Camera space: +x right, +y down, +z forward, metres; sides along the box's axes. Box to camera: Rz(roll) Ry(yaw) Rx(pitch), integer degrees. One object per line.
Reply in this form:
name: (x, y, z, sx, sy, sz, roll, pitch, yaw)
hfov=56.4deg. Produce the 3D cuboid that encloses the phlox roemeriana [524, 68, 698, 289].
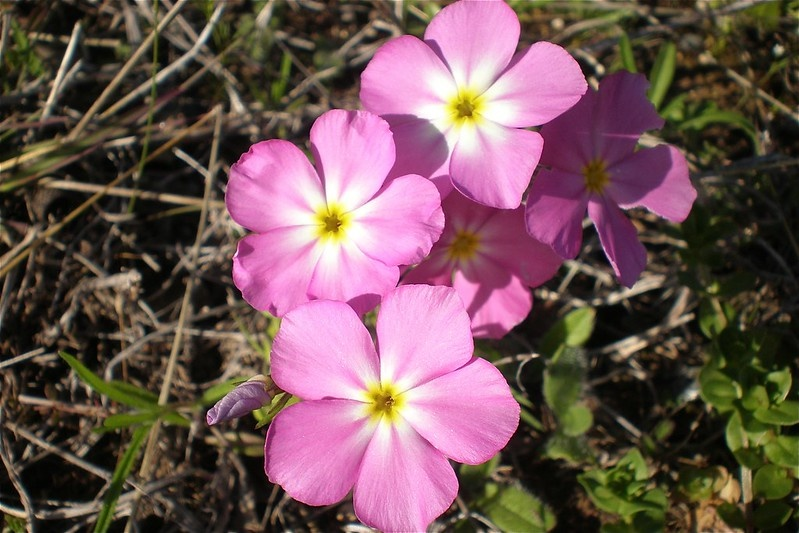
phlox roemeriana: (0.992, -0.513, 3.845, 0.912, 0.315, 0.998, 25, 92, -12)
